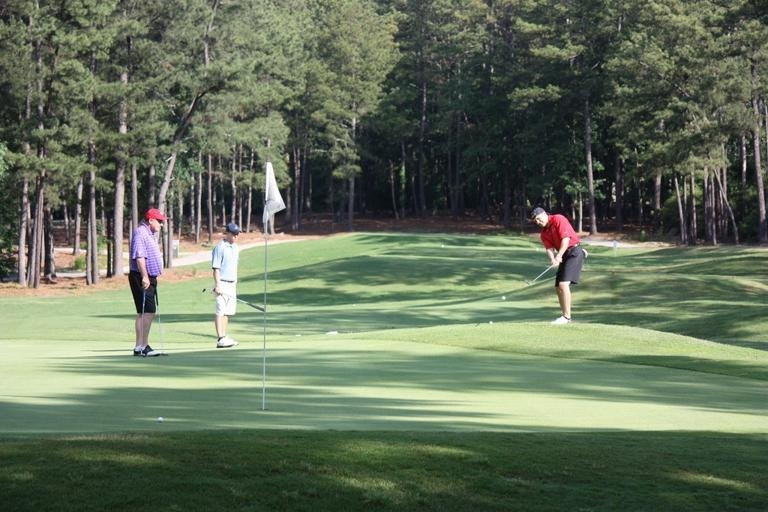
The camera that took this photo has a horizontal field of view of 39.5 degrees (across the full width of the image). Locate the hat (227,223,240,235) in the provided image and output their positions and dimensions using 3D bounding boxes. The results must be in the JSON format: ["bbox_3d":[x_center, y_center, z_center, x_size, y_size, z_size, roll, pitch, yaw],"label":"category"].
[{"bbox_3d":[-5.271,-0.938,37.207,0.413,0.405,0.503,-1,-1,7],"label":"hat"}]

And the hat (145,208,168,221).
[{"bbox_3d":[-7.834,-1.384,36.405,0.772,0.392,0.525,9,5,-5],"label":"hat"}]

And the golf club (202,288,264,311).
[{"bbox_3d":[-6.289,1.826,44.401,2.897,0.386,0.306,22,6,-16],"label":"golf club"}]
